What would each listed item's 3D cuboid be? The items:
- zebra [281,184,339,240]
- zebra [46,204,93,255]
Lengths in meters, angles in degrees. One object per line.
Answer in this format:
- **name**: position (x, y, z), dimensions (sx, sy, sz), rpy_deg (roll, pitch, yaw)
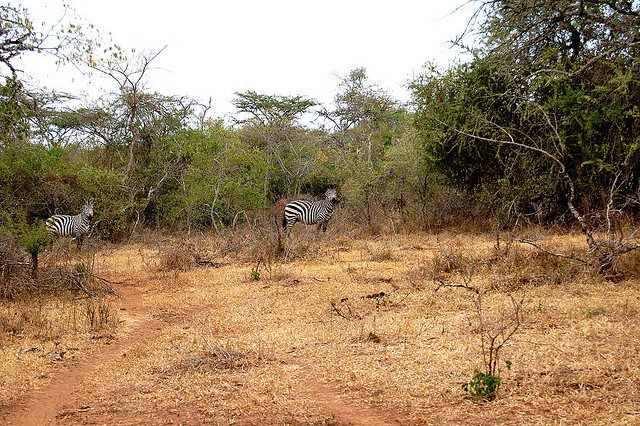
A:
- **zebra**: position (-0.305, -0.011, 23.574), dimensions (1.724, 1.616, 2.082), rpy_deg (14, 18, 40)
- **zebra**: position (-8.188, 0.617, 21.168), dimensions (2.016, 1.701, 0.612), rpy_deg (-8, -9, 30)
